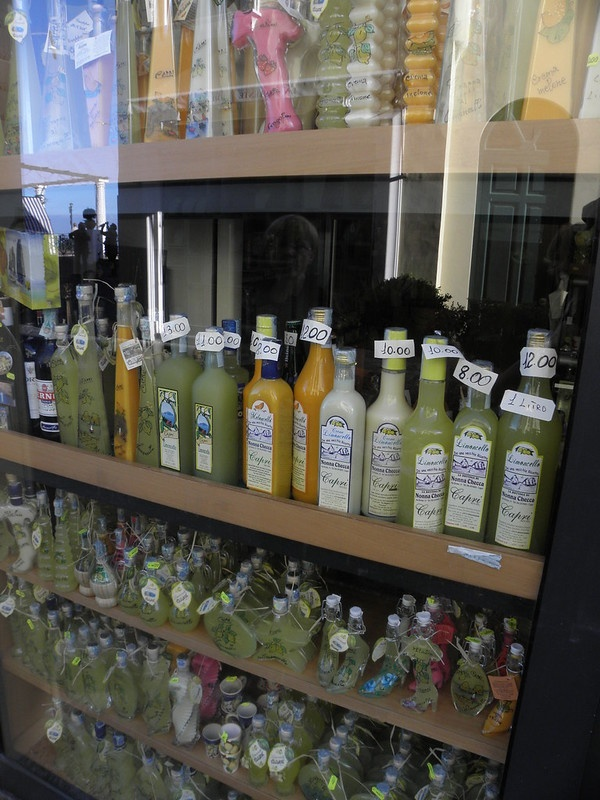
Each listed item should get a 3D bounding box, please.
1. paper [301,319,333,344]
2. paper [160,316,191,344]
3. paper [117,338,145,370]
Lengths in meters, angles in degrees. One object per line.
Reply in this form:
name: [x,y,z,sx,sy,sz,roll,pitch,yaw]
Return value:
paper: [0.025,-0.103,0.907,0.043,0.031,0.039,25,9,-4]
paper: [-0.224,-0.131,1.047,0.052,0.033,0.015,-3,-6,34]
paper: [-0.323,-0.090,1.133,0.044,0.059,0.005,-23,16,-2]
